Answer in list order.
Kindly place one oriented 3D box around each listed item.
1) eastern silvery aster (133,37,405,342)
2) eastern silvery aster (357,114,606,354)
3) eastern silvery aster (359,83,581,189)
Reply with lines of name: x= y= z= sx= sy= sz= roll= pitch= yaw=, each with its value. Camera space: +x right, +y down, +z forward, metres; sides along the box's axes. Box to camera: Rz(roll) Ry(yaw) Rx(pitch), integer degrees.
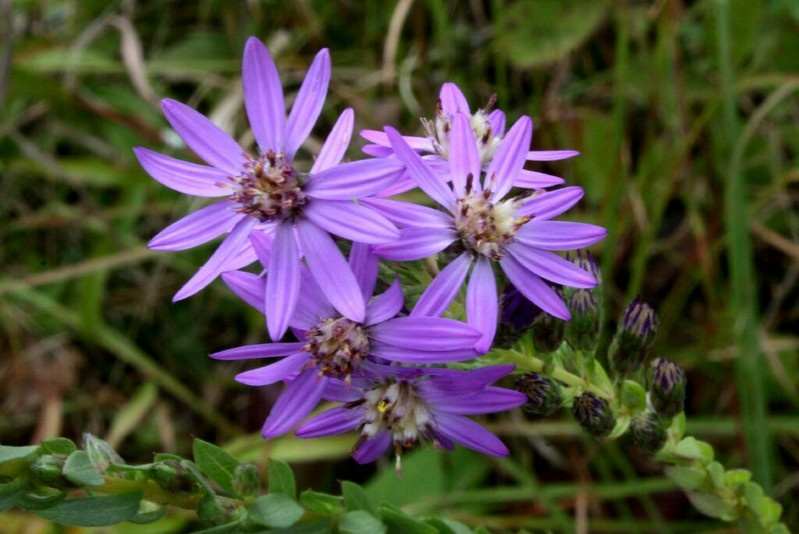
eastern silvery aster: x=-0.543 y=-0.311 z=3.475 sx=1.148 sy=0.443 sz=1.211 roll=14 pitch=20 yaw=33
eastern silvery aster: x=0.255 y=-0.182 z=3.348 sx=0.896 sy=0.267 sz=1.013 roll=9 pitch=79 yaw=-4
eastern silvery aster: x=0.281 y=-0.550 z=3.717 sx=0.806 sy=0.899 sz=0.311 roll=-11 pitch=95 yaw=-16
